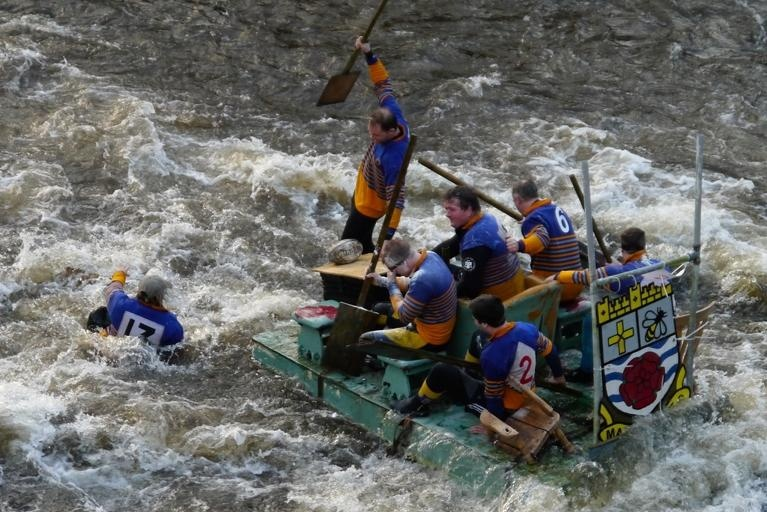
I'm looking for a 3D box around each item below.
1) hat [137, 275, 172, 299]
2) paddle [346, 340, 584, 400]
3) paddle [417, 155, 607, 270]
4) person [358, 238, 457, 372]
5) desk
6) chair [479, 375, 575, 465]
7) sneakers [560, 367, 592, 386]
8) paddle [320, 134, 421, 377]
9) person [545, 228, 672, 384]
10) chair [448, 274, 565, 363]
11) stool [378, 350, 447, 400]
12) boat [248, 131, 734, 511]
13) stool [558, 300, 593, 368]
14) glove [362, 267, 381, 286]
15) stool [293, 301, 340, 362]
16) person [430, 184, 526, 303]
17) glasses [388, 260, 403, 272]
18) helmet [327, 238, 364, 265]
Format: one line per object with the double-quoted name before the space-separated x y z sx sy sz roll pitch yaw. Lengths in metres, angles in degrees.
"hat" -3.141 0.455 15.479 0.377 0.208 0.284 38 35 27
"paddle" 1.043 1.454 14.322 2.453 0.197 0.335 13 3 -9
"paddle" 1.919 -0.574 16.670 3.358 0.165 0.248 32 28 7
"person" 0.332 0.716 14.633 0.966 1.464 0.936 13 47 17
"desk" -0.451 0.335 15.867 0.809 0.547 0.735 4 17 14
"chair" 1.806 2.152 14.113 0.940 1.040 1.295 48 10 8
"sneakers" 2.513 1.556 14.827 0.480 0.200 0.155 14 36 26
"paddle" -0.074 0.057 14.709 0.698 3.487 0.227 23 17 15
"person" 3.045 0.591 14.846 1.630 2.204 0.853 -7 35 -32
"chair" 1.639 0.701 14.697 1.043 0.891 1.397 -11 10 -44
"stool" 0.381 1.524 14.757 0.637 0.491 0.532 -20 26 -39
"boat" 1.192 1.361 15.127 5.238 2.980 5.027 12 27 29
"stool" 2.588 1.008 15.006 0.495 0.549 0.797 -4 51 2
"glove" -0.134 0.286 15.146 0.319 0.093 0.094 24 42 21
"stool" -0.787 1.074 15.491 0.667 0.677 0.770 4 10 38
"person" 1.315 -0.104 15.234 1.071 1.588 0.822 24 56 35
"glasses" 0.170 0.143 14.468 0.124 0.037 0.122 -36 9 -28
"helmet" -0.511 -0.062 15.959 0.438 0.249 0.311 -21 8 -16
